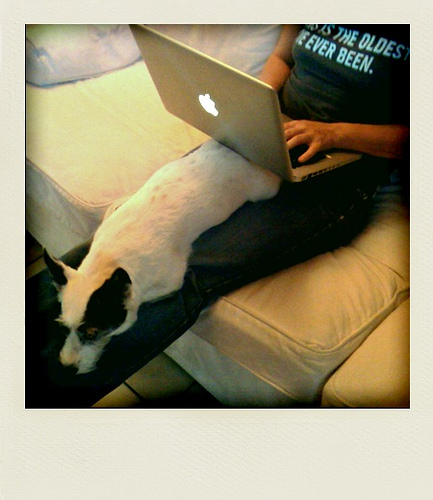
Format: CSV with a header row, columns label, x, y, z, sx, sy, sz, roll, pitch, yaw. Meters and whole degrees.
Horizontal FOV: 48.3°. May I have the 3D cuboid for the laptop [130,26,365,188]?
label,x,y,z,sx,sy,sz,roll,pitch,yaw
laptop,0.090,-0.381,1.173,0.473,0.265,0.430,35,48,22

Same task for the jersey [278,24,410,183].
label,x,y,z,sx,sy,sz,roll,pitch,yaw
jersey,0.333,-0.363,1.213,0.283,0.350,0.192,34,22,7

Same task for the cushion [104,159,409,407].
label,x,y,z,sx,sy,sz,roll,pitch,yaw
cushion,0.110,0.124,1.322,0.597,0.153,0.606,34,60,22

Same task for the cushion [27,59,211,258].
label,x,y,z,sx,sy,sz,roll,pitch,yaw
cushion,-0.255,-0.252,1.485,0.520,0.133,0.542,-34,75,-8

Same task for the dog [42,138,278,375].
label,x,y,z,sx,sy,sz,roll,pitch,yaw
dog,-0.111,-0.036,1.345,0.243,0.454,0.935,19,51,24

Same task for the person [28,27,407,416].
label,x,y,z,sx,sy,sz,roll,pitch,yaw
person,0.132,-0.090,1.437,1.452,0.554,0.549,-31,63,6
